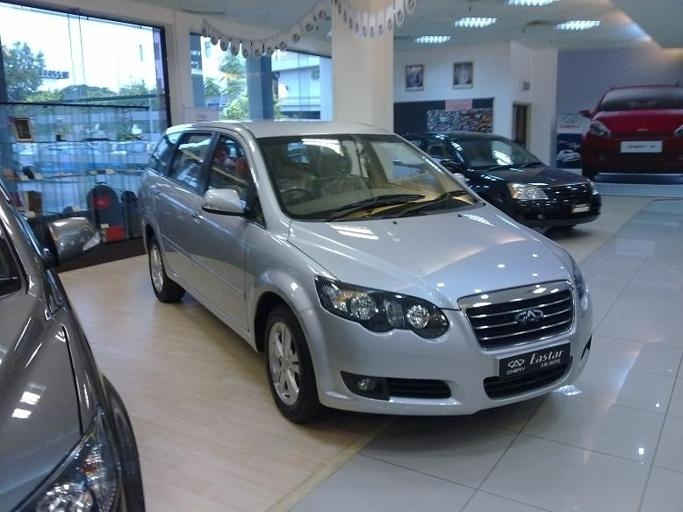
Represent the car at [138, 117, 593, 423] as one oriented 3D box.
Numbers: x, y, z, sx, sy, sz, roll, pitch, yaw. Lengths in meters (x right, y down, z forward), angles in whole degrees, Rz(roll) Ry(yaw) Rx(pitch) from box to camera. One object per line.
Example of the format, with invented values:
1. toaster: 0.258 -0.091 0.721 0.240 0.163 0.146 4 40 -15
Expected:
1. car: -0.183 -0.078 3.175 1.644 1.222 3.142 -9 17 -34
